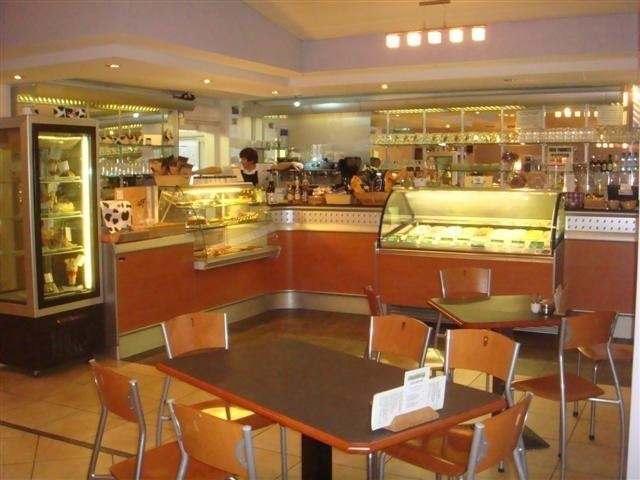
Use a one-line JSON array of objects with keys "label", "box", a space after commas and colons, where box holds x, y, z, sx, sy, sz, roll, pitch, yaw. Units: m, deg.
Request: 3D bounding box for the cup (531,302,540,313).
[{"label": "cup", "box": [1.553, 0.489, 3.804, 0.067, 0.064, 0.064, 0, 4, 0]}]

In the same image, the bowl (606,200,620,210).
[{"label": "bowl", "box": [3.686, -0.447, 6.631, 0.171, 0.099, 0.164, 0, 4, 0]}]

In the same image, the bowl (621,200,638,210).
[{"label": "bowl", "box": [3.830, -0.433, 6.559, 0.173, 0.077, 0.166, 0, 5, 0]}]

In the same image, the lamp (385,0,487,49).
[{"label": "lamp", "box": [1.412, -2.547, 6.293, 1.112, 0.539, 1.478, 3, 9, 15]}]
